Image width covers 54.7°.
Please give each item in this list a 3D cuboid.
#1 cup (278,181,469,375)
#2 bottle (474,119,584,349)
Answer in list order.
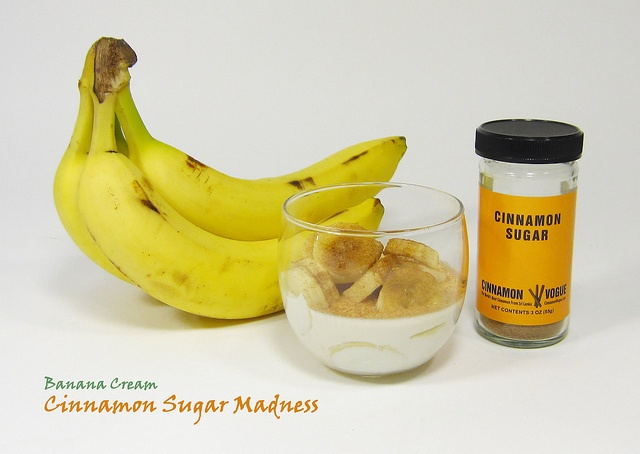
[{"bbox_3d":[0.090,0.088,1.220,0.361,0.292,0.367,-1,11,0],"label":"cup"},{"bbox_3d":[0.405,0.013,1.226,0.197,0.423,0.201,-3,21,1],"label":"bottle"}]
